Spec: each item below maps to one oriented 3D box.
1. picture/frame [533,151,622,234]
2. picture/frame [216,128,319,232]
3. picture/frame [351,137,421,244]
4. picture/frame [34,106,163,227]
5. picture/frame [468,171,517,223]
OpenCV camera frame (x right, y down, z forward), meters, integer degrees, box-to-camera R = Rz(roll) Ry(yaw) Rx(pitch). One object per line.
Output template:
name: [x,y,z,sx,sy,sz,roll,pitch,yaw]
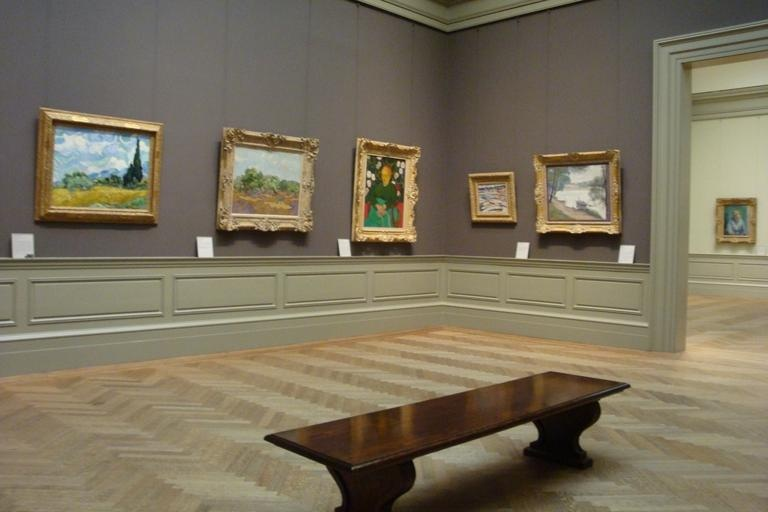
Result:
picture/frame: [3.398,-1.095,8.432,1.488,1.461,0.164,-1,-2,35]
picture/frame: [-1.899,-1.188,7.700,1.744,1.592,0.234,2,0,-37]
picture/frame: [0.054,-1.149,8.915,1.348,1.743,0.342,0,14,-32]
picture/frame: [-3.815,-1.143,6.586,1.444,1.405,0.257,0,13,-31]
picture/frame: [2.105,-1.119,9.321,1.020,1.012,0.081,1,4,38]
